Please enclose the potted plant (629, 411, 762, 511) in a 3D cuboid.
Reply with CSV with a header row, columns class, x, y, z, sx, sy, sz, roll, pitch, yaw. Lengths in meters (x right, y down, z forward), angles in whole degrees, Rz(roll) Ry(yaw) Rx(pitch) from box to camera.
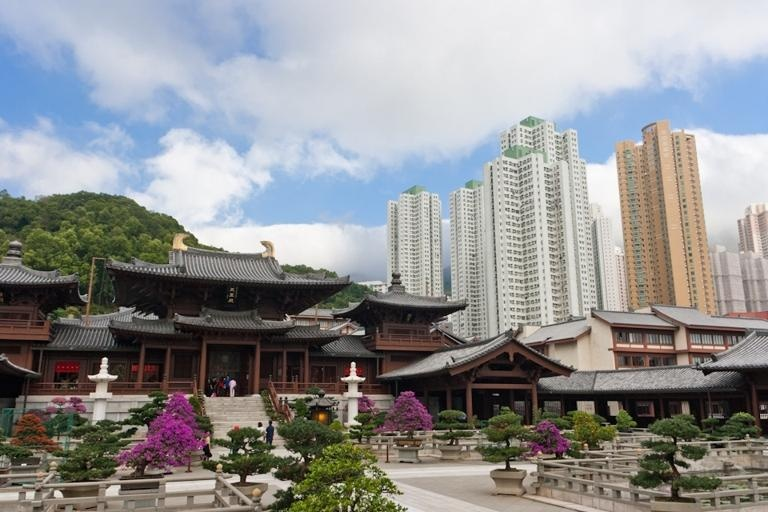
class,x,y,z,sx,sy,sz,roll,pitch,yaw
potted plant,12.021,8.449,25.628,2.846,3.341,1.778,6,-20,-18
